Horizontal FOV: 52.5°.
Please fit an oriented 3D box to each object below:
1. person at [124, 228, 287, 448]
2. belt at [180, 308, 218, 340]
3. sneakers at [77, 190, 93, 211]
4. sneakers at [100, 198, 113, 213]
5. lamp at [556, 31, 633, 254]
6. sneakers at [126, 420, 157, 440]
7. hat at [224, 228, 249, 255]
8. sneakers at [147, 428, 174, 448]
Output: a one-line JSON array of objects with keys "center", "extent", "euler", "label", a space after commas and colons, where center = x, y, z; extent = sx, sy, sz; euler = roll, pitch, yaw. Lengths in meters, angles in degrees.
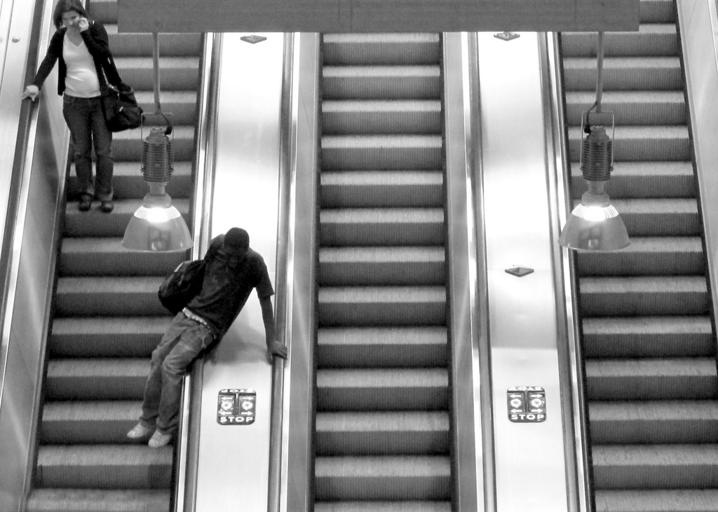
[{"center": [-1.268, 0.571, 5.866], "extent": [1.272, 1.734, 0.601], "euler": [17, 2, 13], "label": "person"}, {"center": [-1.291, 0.539, 5.885], "extent": [0.245, 0.058, 0.221], "euler": [43, -9, -13], "label": "belt"}, {"center": [-2.630, -0.520, 6.946], "extent": [0.079, 0.100, 0.230], "euler": [3, 22, -9], "label": "sneakers"}, {"center": [-2.413, -0.477, 6.930], "extent": [0.086, 0.140, 0.148], "euler": [-1, -7, -12], "label": "sneakers"}, {"center": [1.810, -0.870, 5.479], "extent": [0.458, 1.557, 0.476], "euler": [4, 16, 28], "label": "lamp"}, {"center": [-1.851, 1.519, 6.201], "extent": [0.169, 0.146, 0.338], "euler": [12, -16, 5], "label": "sneakers"}, {"center": [-0.942, -0.110, 5.710], "extent": [0.172, 0.227, 0.196], "euler": [1, 1, 4], "label": "hat"}, {"center": [-1.631, 1.516, 6.051], "extent": [0.159, 0.126, 0.299], "euler": [-3, -14, 0], "label": "sneakers"}]
